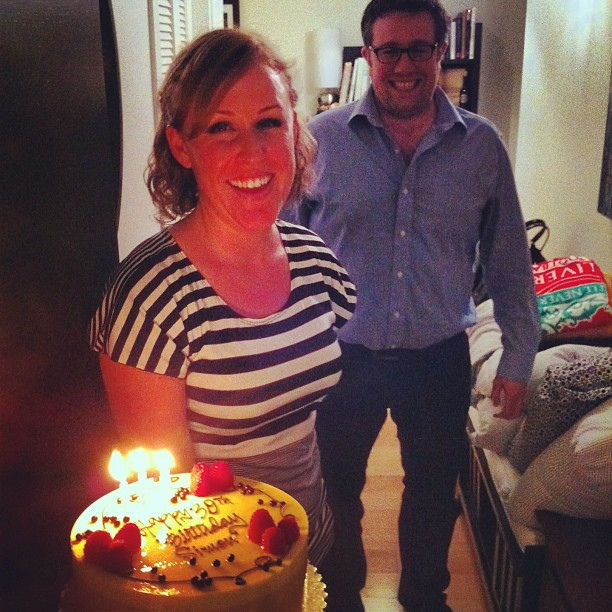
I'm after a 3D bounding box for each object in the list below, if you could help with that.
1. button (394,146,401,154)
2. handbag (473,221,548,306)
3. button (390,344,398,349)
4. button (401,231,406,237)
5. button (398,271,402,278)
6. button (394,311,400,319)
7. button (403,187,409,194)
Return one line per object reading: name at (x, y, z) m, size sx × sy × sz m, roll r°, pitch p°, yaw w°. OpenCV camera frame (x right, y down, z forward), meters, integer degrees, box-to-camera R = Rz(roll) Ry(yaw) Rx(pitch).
button at (0.227, -0.391, 1.623) m, size 0.017 × 0.020 × 0.005 m, roll 2°, pitch -6°, yaw -5°
handbag at (0.576, -0.108, 1.849) m, size 0.226 × 0.177 × 0.127 m, roll -31°, pitch 11°, yaw 23°
button at (0.222, 0.105, 1.644) m, size 0.018 × 0.014 × 0.007 m, roll 8°, pitch 11°, yaw 3°
button at (0.243, -0.181, 1.619) m, size 0.011 × 0.015 × 0.004 m, roll 2°, pitch -1°, yaw 0°
button at (0.236, -0.078, 1.631) m, size 0.010 × 0.017 × 0.002 m, roll 5°, pitch 11°, yaw -3°
button at (0.228, 0.025, 1.628) m, size 0.011 × 0.015 × 0.003 m, roll -1°, pitch -11°, yaw 1°
button at (0.248, -0.286, 1.611) m, size 0.010 × 0.015 × 0.005 m, roll 1°, pitch 9°, yaw 4°
